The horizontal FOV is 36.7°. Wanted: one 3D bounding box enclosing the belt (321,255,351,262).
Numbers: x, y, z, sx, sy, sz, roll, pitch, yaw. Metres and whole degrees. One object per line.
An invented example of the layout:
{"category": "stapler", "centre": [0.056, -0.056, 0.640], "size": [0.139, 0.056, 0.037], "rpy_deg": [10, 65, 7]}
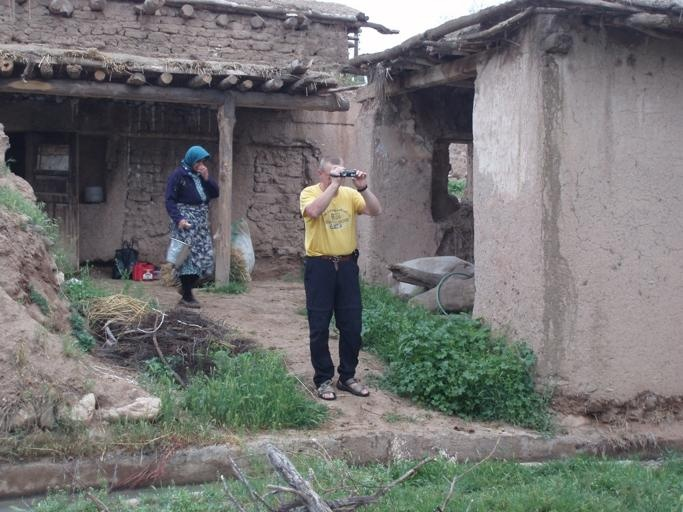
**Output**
{"category": "belt", "centre": [-0.052, 0.014, 10.146], "size": [0.289, 0.060, 0.062], "rpy_deg": [0, 1, -7]}

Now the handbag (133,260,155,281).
{"category": "handbag", "centre": [-2.775, 0.199, 14.437], "size": [0.244, 0.249, 0.245], "rpy_deg": [-1, -3, 43]}

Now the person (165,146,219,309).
{"category": "person", "centre": [-1.758, -0.348, 12.116], "size": [0.405, 1.877, 0.630], "rpy_deg": [1, 1, 33]}

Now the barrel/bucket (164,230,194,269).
{"category": "barrel/bucket", "centre": [-1.882, -0.091, 11.936], "size": [0.278, 0.445, 0.197], "rpy_deg": [1, 1, 10]}

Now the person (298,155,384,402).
{"category": "person", "centre": [-0.036, 0.231, 10.231], "size": [0.746, 2.393, 0.560], "rpy_deg": [0, 1, -13]}

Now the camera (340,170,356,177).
{"category": "camera", "centre": [0.080, -0.815, 9.995], "size": [0.155, 0.078, 0.116], "rpy_deg": [1, 1, 18]}

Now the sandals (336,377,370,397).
{"category": "sandals", "centre": [0.112, 1.327, 10.510], "size": [0.377, 0.159, 0.143], "rpy_deg": [8, 8, 22]}
